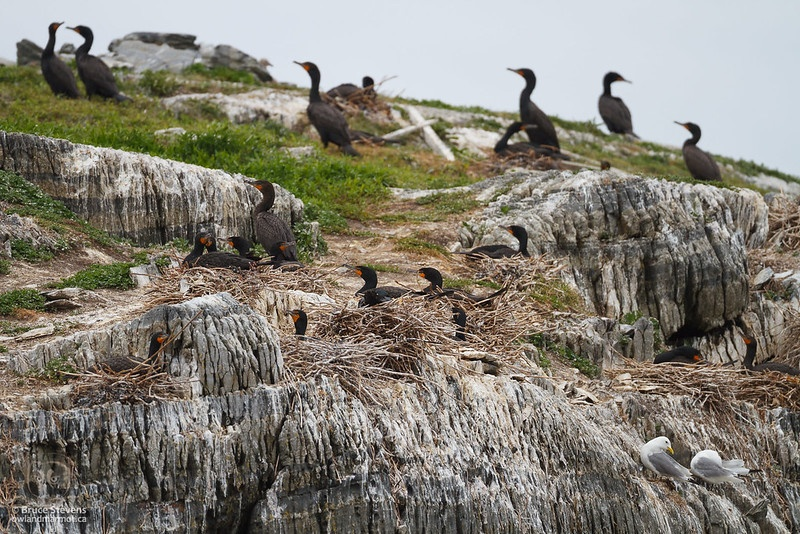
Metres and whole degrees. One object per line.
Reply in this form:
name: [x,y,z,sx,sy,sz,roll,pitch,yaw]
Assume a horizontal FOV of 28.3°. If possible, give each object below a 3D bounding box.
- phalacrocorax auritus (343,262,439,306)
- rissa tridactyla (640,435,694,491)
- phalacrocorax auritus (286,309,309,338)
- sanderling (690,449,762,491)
phalacrocorax auritus: [-0.214,0.292,25.888,1.440,0.737,0.499,-2,-2,16]
rissa tridactyla: [4.194,3.079,25.396,0.991,0.682,0.523,6,-8,7]
phalacrocorax auritus: [-1.587,0.873,24.859,0.289,0.450,0.382,-2,-16,-4]
sanderling: [5.136,3.216,25.690,0.886,0.532,0.504,-5,-16,8]
